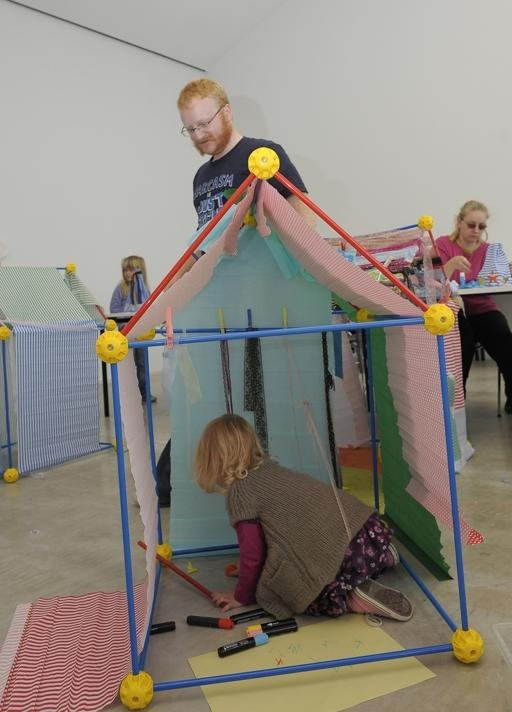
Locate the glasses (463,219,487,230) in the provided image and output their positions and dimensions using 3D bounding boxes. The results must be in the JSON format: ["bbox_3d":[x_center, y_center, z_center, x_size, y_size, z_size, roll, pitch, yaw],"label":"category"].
[{"bbox_3d":[0.958,-0.565,2.622,0.086,0.041,0.053,-3,5,-3],"label":"glasses"}]
